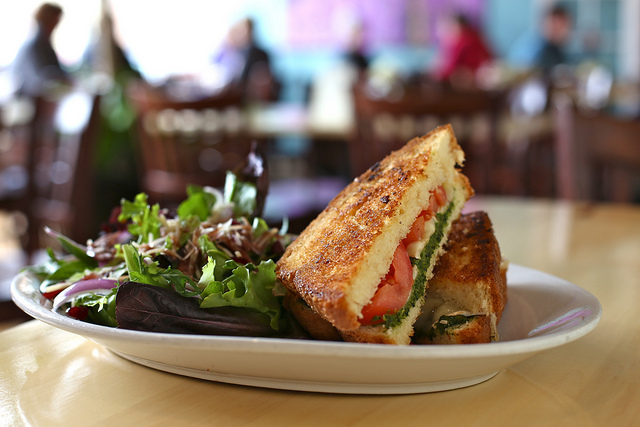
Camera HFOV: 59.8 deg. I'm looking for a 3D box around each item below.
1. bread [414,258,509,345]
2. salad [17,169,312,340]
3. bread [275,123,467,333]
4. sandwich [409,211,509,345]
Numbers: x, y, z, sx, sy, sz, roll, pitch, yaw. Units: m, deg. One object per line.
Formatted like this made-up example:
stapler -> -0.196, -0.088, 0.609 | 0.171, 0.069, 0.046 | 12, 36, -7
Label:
bread -> 0.530, 0.312, 2.053 | 0.287, 0.072, 0.275 | -19, 14, 34
salad -> -0.715, 0.169, 2.607 | 1.008, 0.373, 1.010 | 3, 10, 5
bread -> 0.251, 0.036, 2.059 | 0.802, 0.222, 0.780 | -39, 18, 8
sandwich -> 0.595, 0.365, 2.317 | 0.409, 0.189, 0.752 | -10, 40, 30
